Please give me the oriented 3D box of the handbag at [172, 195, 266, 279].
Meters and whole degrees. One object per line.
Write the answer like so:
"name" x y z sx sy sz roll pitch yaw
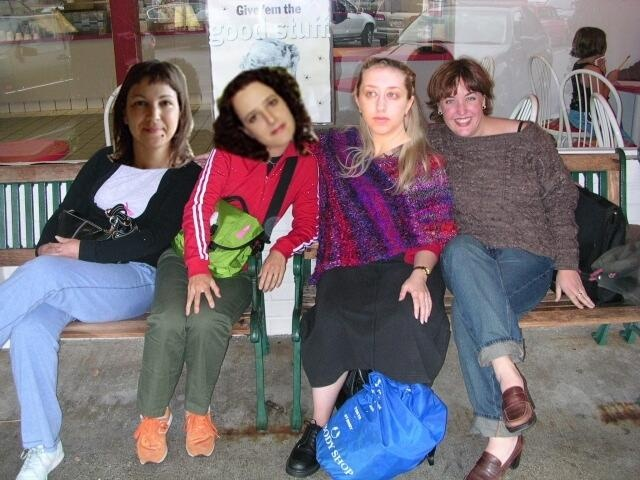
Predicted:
"handbag" -0.455 0.005 2.789 0.320 0.363 0.140 -3 44 19

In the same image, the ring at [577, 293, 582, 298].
"ring" 1.405 0.301 2.672 0.024 0.021 0.007 7 19 24

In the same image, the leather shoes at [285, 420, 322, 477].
"leather shoes" -0.075 1.079 2.607 0.115 0.144 0.329 17 12 10

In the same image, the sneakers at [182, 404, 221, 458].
"sneakers" -0.643 1.017 2.654 0.174 0.287 0.144 -7 18 -19

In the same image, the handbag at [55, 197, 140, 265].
"handbag" -1.320 -0.119 2.869 0.392 0.186 0.379 14 -30 -16

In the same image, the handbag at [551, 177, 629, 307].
"handbag" 1.593 0.055 2.844 0.175 0.619 0.455 7 -2 -41

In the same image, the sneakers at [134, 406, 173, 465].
"sneakers" -0.904 1.031 2.679 0.158 0.162 0.383 4 18 -9

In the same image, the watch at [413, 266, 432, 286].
"watch" 0.552 0.176 2.632 0.096 0.113 0.067 9 39 25

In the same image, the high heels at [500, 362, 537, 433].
"high heels" 0.950 0.795 2.368 0.133 0.130 0.394 -31 -7 19
